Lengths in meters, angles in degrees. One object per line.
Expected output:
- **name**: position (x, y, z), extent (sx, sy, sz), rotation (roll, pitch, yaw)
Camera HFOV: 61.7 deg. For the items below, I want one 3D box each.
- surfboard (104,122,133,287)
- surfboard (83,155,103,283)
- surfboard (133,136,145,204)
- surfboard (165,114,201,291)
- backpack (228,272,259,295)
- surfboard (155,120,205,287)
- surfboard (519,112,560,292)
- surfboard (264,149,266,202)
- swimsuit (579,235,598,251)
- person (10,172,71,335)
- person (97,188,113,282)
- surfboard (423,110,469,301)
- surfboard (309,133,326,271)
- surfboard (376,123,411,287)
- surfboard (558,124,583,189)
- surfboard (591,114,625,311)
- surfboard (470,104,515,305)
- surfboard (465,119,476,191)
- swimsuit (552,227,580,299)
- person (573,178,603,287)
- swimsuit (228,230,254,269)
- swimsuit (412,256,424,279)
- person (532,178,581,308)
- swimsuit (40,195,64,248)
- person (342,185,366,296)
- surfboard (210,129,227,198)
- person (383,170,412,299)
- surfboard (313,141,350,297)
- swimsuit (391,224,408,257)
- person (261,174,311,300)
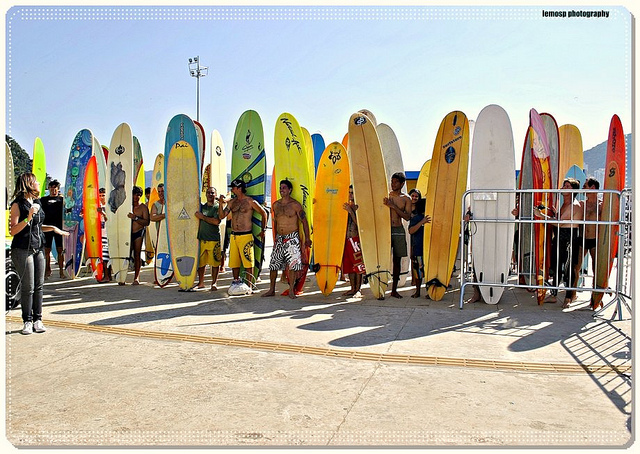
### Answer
- **surfboard**: position (-3.560, -0.255, 9.520), extent (0.520, 2.868, 0.279), rotation (-1, -10, 16)
- **surfboard**: position (-4.208, -0.136, 9.921), extent (0.294, 2.278, 1.144), rotation (-4, 9, -24)
- **surfboard**: position (-4.479, -1.592, 13.286), extent (0.220, 1.182, 1.243), rotation (-3, 9, -18)
- **surfboard**: position (-2.260, -0.295, 8.875), extent (0.568, 2.924, 0.355), rotation (-2, -4, 9)
- **backpack**: position (-1.235, 0.981, 8.570), extent (0.285, 0.369, 0.422), rotation (-16, -40, 25)
- **surfboard**: position (-2.320, -0.255, 8.976), extent (0.570, 3.051, 0.346), rotation (1, -6, 13)
- **surfboard**: position (3.334, -0.270, 8.079), extent (0.559, 2.863, 0.292), rotation (4, 5, 15)
- **surfboard**: position (-0.904, -0.753, 8.947), extent (0.030, 0.700, 0.340), rotation (-1, 9, -8)
- **swimsuit**: position (3.826, 0.240, 7.623), extent (0.181, 0.149, 0.182), rotation (1, -4, 11)
- **person**: position (-3.399, 0.315, 6.237), extent (0.349, 1.858, 0.374), rotation (-3, 9, -17)
- **person**: position (-3.942, 0.187, 9.800), extent (0.265, 2.172, 0.243), rotation (-5, -8, 31)
- **surfboard**: position (1.936, -0.322, 8.180), extent (0.632, 2.837, 0.740), rotation (2, 9, 15)
- **surfboard**: position (-0.103, -0.661, 11.909), extent (0.444, 2.897, 0.313), rotation (4, -1, 0)
- **surfboard**: position (1.481, -0.765, 10.638), extent (0.730, 3.914, 0.413), rotation (-3, -9, 5)
- **surfboard**: position (5.290, -1.484, 11.217), extent (0.425, 0.254, 1.825), rotation (-20, 29, 35)
- **surfboard**: position (4.057, -0.212, 7.441), extent (0.288, 2.659, 1.078), rotation (5, 10, 29)
- **surfboard**: position (2.511, -0.326, 7.824), extent (0.669, 2.869, 0.736), rotation (5, 10, 28)
- **surfboard**: position (2.293, -1.089, 8.165), extent (0.124, 1.063, 1.052), rotation (2, 9, 15)
- **swimsuit**: position (3.572, 0.547, 7.729), extent (0.320, 1.130, 0.728), rotation (4, 10, 26)
- **person**: position (3.800, 0.132, 7.563), extent (0.312, 1.604, 0.693), rotation (4, 10, 26)
- **swimsuit**: position (-1.244, 0.372, 8.455), extent (0.363, 0.605, 0.178), rotation (0, 9, 2)
- **swimsuit**: position (1.544, 0.639, 8.357), extent (0.141, 0.316, 0.216), rotation (1, -1, -4)
- **person**: position (3.440, 0.263, 7.641), extent (0.531, 1.859, 1.145), rotation (4, 9, 24)
- **swimsuit**: position (-4.998, -0.119, 9.795), extent (0.151, 0.995, 0.469), rotation (9, -13, -3)
- **person**: position (0.540, 0.263, 8.361), extent (0.343, 1.648, 0.471), rotation (0, 9, 1)
- **surfboard**: position (-2.071, -1.266, 10.999), extent (0.340, 1.398, 1.211), rotation (-2, 9, -10)
- **person**: position (1.219, 0.149, 8.372), extent (0.416, 1.926, 0.649), rotation (3, 9, 17)
- **surfboard**: position (0.187, -0.156, 8.600), extent (0.570, 2.793, 0.268), rotation (5, -30, -1)
- **swimsuit**: position (1.182, 0.202, 8.385), extent (0.367, 0.524, 0.294), rotation (5, 11, 29)
- **person**: position (-0.563, 0.180, 8.724), extent (0.747, 1.995, 1.565), rotation (-1, 9, -7)
